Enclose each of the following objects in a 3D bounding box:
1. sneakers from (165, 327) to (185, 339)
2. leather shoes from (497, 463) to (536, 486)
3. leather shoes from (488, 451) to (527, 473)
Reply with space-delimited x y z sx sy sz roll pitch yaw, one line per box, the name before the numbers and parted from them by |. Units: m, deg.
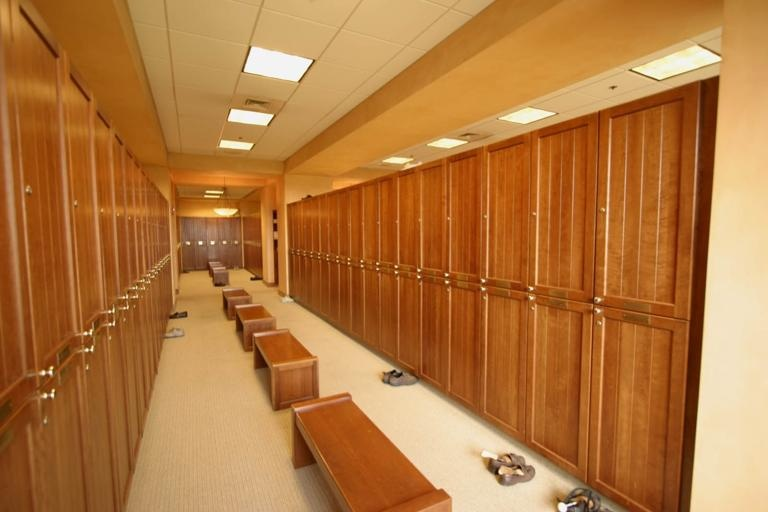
sneakers | -3.195 1.165 7.966 0.225 0.144 0.090 2 -92 -27
leather shoes | 1.127 1.828 4.418 0.264 0.146 0.092 -4 -85 -19
leather shoes | 1.069 1.749 4.525 0.261 0.150 0.094 -4 -91 -18
